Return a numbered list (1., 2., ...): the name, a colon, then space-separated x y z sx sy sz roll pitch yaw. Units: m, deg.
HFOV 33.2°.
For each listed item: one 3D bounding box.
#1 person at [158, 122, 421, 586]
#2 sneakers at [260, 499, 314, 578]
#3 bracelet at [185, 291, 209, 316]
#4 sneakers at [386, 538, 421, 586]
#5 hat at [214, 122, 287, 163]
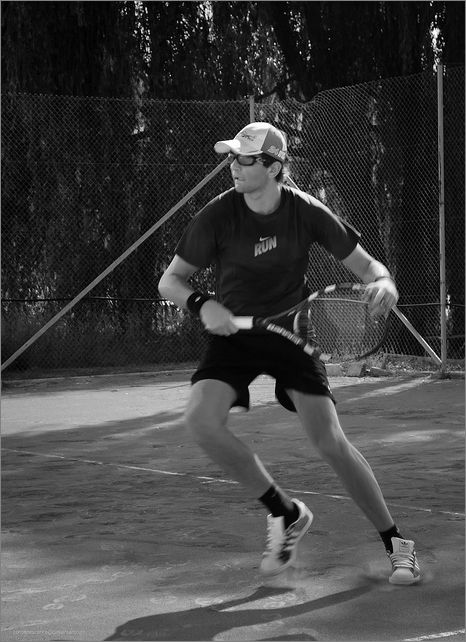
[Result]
1. person: 0.181 0.118 2.961 0.954 1.756 0.842 -3 9 16
2. sneakers: 0.182 0.764 2.832 0.100 0.136 0.324 -3 37 39
3. bracelet: -0.136 -0.062 2.880 0.038 0.075 0.104 -48 4 3
4. sneakers: 0.593 0.832 2.703 0.107 0.135 0.137 -4 9 12
5. hat: 0.086 -0.725 3.117 0.272 0.137 0.165 13 -2 -22
